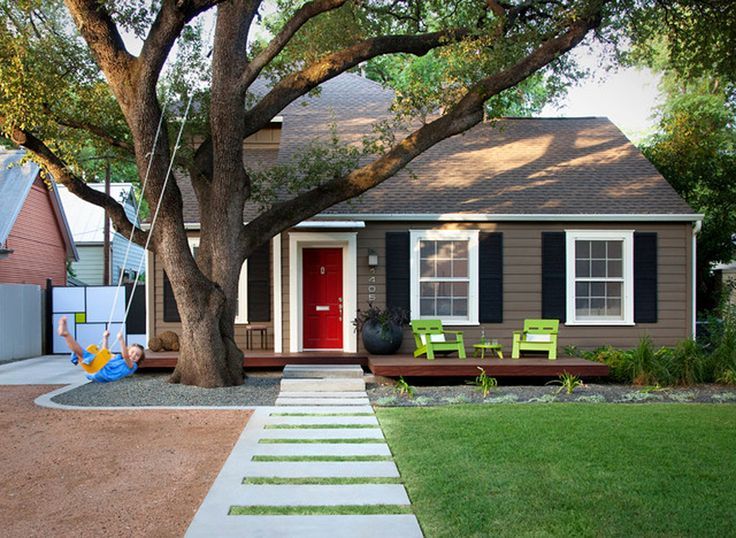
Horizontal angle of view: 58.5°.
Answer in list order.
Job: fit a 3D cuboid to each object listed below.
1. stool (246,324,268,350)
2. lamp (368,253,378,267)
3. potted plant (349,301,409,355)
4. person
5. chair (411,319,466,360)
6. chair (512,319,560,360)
[{"bbox_3d":[-2.677,1.626,15.894,0.568,0.631,0.576,1,-6,-14],"label":"stool"},{"bbox_3d":[0.122,-0.235,15.586,0.297,0.420,0.221,1,-5,-13],"label":"lamp"},{"bbox_3d":[0.223,1.368,15.331,1.092,0.975,1.091,6,-10,-44],"label":"potted plant"},{"bbox_3d":[-5.330,1.694,13.284,0.691,0.903,2.214,13,-4,25],"label":"person"},{"bbox_3d":[1.532,1.567,14.910,0.940,0.872,1.214,0,-3,-21],"label":"chair"},{"bbox_3d":[3.829,1.559,14.945,1.245,0.874,1.313,0,-4,-2],"label":"chair"}]
